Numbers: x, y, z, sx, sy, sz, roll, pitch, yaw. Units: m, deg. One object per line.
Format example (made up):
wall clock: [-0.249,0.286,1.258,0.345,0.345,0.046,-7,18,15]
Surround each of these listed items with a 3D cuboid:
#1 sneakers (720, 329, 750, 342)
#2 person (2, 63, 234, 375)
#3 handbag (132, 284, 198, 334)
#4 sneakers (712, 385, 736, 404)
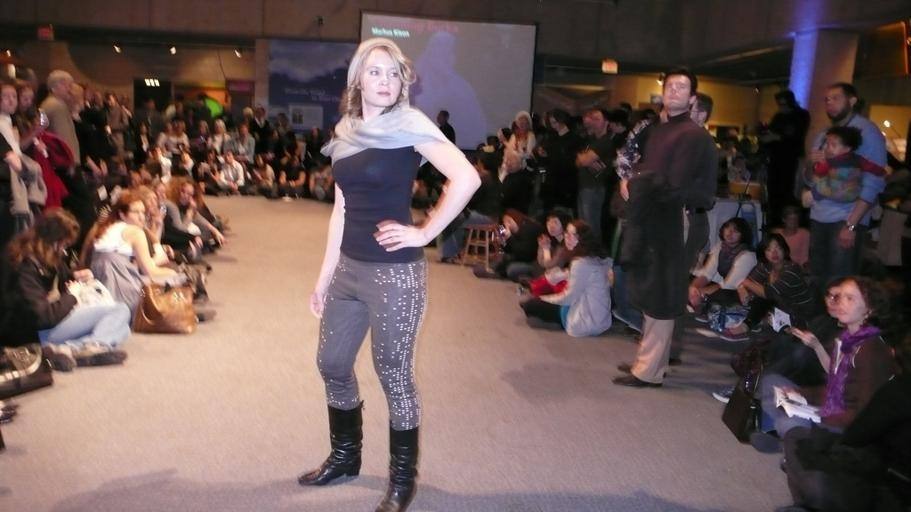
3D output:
sneakers: [2.948,0.834,6.168,0.226,0.076,0.153,1,0,-2]
person: [-3.126,0.055,5.856,1.087,1.362,2.088,-1,17,-5]
handbag: [-2.800,0.489,5.880,0.807,0.476,0.404,-2,17,13]
sneakers: [2.316,1.172,5.095,0.107,0.118,0.284,35,4,10]
